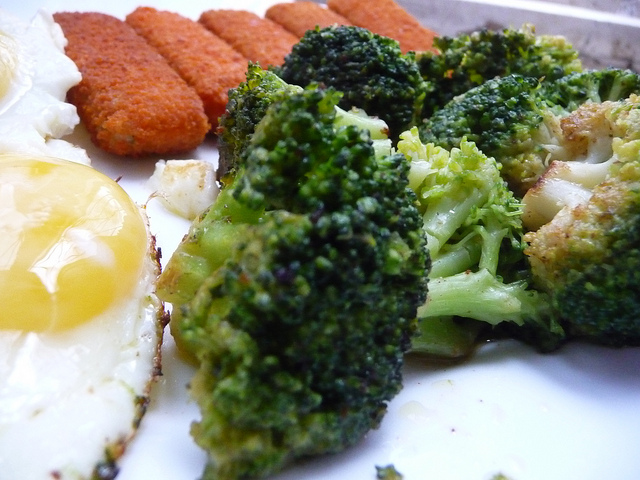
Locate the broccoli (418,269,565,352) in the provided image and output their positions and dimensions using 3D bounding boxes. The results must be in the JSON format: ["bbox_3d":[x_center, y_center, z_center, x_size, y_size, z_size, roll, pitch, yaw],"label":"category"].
[{"bbox_3d":[0.584,0.240,2.111,0.459,0.158,0.243,5,66,1],"label":"broccoli"}]
